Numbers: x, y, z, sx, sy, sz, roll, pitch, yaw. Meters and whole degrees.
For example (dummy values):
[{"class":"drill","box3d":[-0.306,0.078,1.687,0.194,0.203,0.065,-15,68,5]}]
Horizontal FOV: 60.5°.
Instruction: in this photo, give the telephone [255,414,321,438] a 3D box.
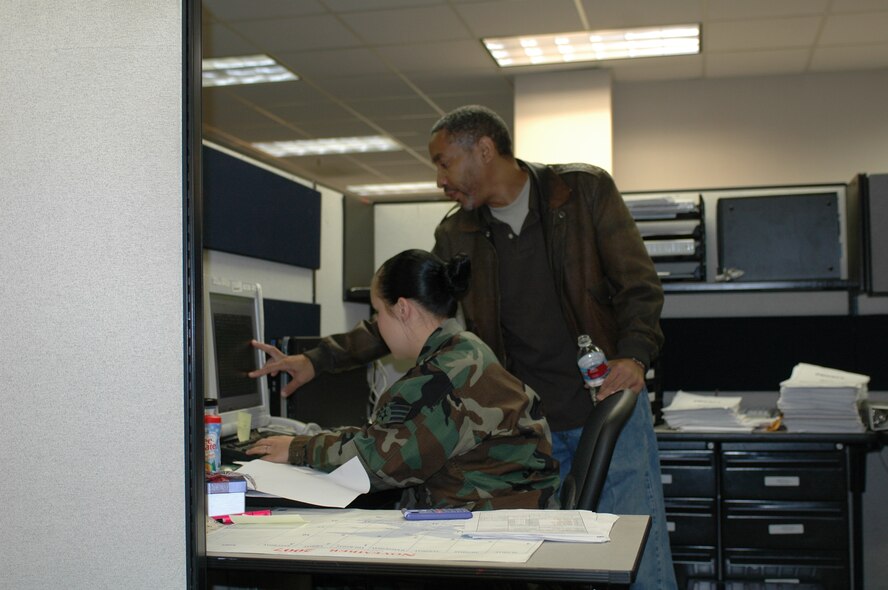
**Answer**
[{"class":"telephone","box3d":[-0.560,0.463,2.642,0.167,0.059,0.160,1,-7,4]}]

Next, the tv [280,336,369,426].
[{"class":"tv","box3d":[-0.476,0.346,3.001,0.093,0.341,0.363,4,3,33]}]

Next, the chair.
[{"class":"chair","box3d":[0.396,0.415,2.040,0.142,0.301,0.287,-4,-6,37]}]

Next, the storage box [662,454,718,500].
[{"class":"storage box","box3d":[1.188,0.895,3.702,0.279,0.176,0.191,0,-4,11]}]

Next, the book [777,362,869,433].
[{"class":"book","box3d":[1.836,0.490,3.686,0.316,0.163,0.374,1,-3,17]}]

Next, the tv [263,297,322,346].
[{"class":"tv","box3d":[-0.668,0.098,3.338,0.162,0.180,0.297,-2,-4,20]}]

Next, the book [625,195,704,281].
[{"class":"book","box3d":[1.280,-0.337,4.469,0.510,0.539,0.345,-1,-4,3]}]

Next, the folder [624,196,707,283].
[{"class":"folder","box3d":[1.278,-0.341,4.449,0.513,0.546,0.347,-1,-4,3]}]

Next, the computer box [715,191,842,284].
[{"class":"computer box","box3d":[1.813,-0.331,4.389,0.777,0.480,0.429,-4,4,-15]}]
